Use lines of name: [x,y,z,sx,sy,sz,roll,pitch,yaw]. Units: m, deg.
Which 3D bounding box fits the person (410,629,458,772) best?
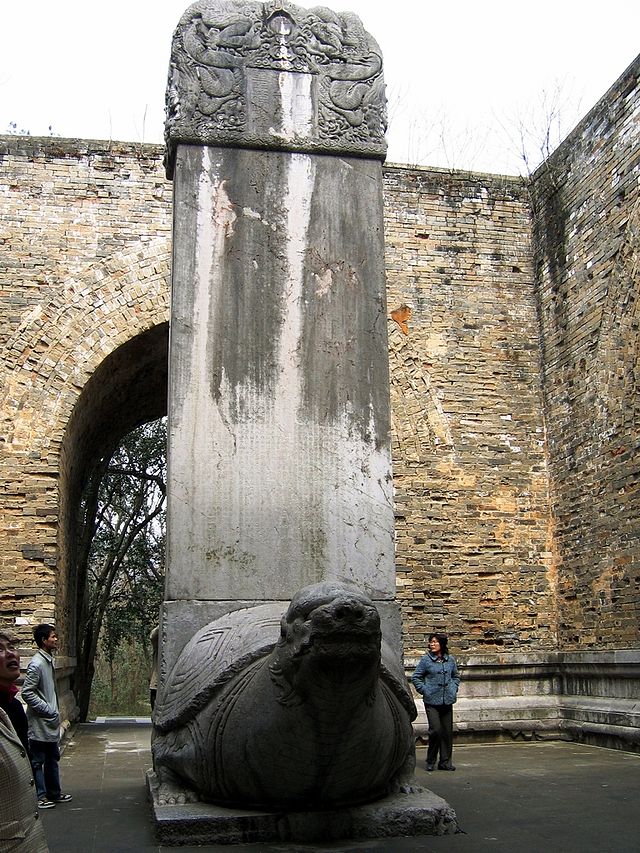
person: [0.809,1.881,6.770,0.313,0.876,0.574,1,-11,1]
